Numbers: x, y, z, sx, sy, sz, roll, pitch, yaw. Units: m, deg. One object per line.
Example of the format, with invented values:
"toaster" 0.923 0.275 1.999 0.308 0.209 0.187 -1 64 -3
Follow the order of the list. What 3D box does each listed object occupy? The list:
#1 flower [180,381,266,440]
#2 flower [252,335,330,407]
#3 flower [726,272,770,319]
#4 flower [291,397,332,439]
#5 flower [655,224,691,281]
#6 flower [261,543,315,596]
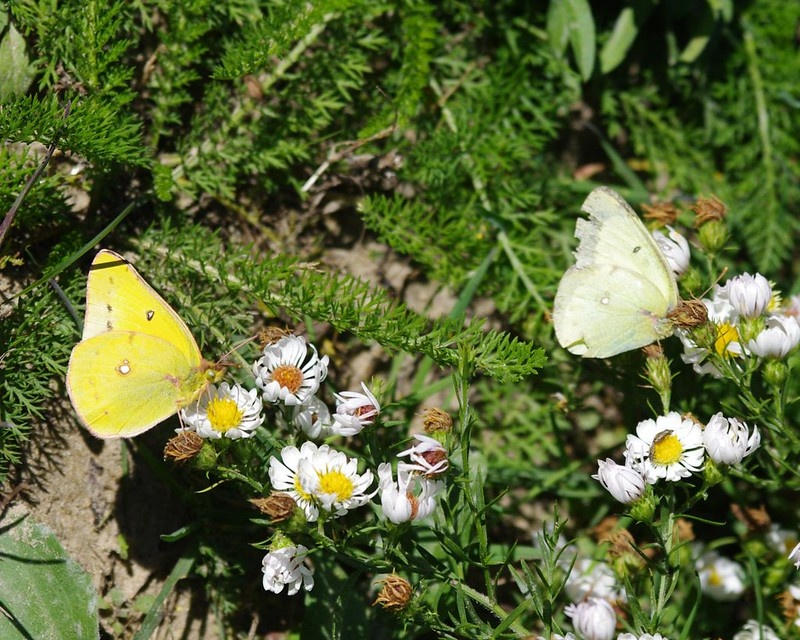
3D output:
"flower" -0.461 0.239 2.266 0.124 0.210 0.174 13 23 29
"flower" -0.288 0.137 2.310 0.215 0.234 0.138 -9 19 -27
"flower" 0.935 -0.078 2.358 0.103 0.144 0.110 -15 11 -39
"flower" -0.239 0.261 2.390 0.087 0.108 0.118 -7 46 -23
"flower" 0.779 -0.196 2.500 0.065 0.143 0.121 -5 -5 -28
"flower" -0.291 0.642 2.280 0.088 0.208 0.104 -12 21 -42
